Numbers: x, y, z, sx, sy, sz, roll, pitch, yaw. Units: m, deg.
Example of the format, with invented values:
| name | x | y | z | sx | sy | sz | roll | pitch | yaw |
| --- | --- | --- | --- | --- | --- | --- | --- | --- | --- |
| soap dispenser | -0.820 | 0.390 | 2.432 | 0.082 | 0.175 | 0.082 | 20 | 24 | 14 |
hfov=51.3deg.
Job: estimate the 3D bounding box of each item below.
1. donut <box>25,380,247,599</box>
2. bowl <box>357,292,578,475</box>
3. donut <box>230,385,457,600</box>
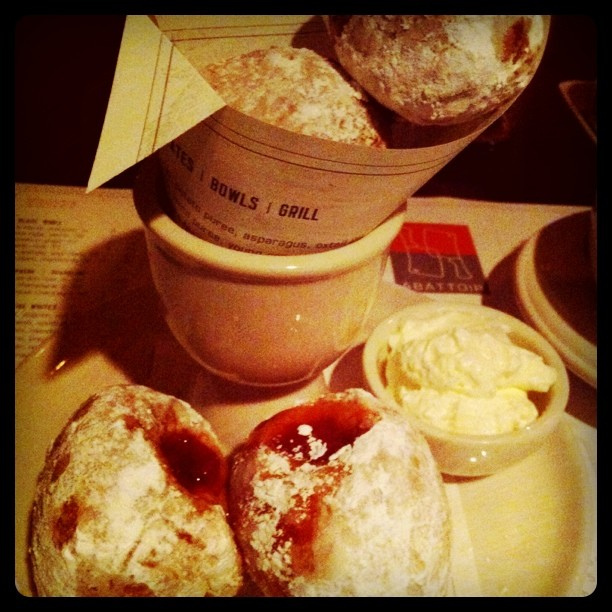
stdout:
| name | x | y | z | sx | sy | sz | roll | pitch | yaw |
| --- | --- | --- | --- | --- | --- | --- | --- | --- | --- |
| donut | -0.133 | 0.166 | 0.526 | 0.167 | 0.083 | 0.183 | 19 | 57 | -31 |
| bowl | 0.145 | 0.084 | 0.605 | 0.181 | 0.126 | 0.197 | 2 | 33 | -2 |
| donut | 0.031 | 0.184 | 0.579 | 0.191 | 0.153 | 0.244 | 0 | 27 | 6 |
